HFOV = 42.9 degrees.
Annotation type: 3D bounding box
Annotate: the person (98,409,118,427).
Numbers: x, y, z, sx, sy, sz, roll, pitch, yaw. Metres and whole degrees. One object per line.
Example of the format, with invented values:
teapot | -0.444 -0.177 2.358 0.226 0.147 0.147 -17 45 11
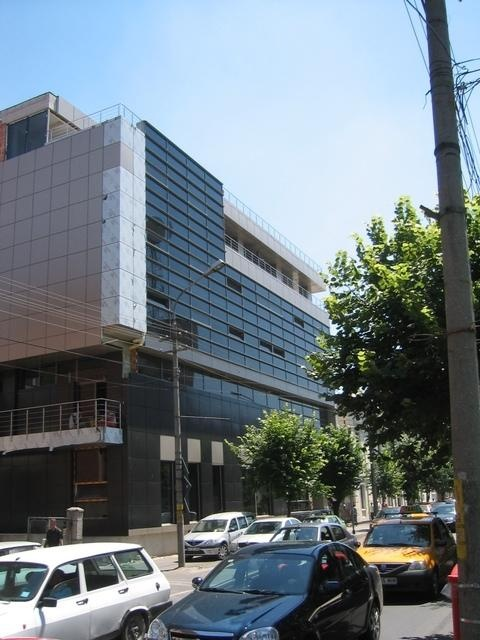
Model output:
person | -5.651 4.122 25.545 0.707 0.770 0.797 -10 -15 17
